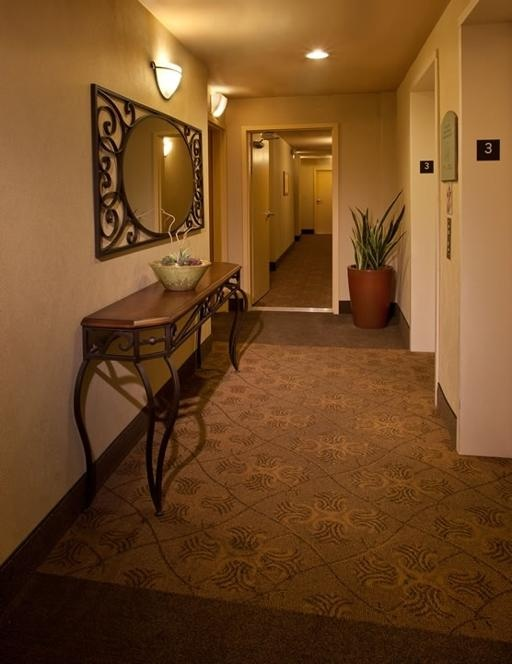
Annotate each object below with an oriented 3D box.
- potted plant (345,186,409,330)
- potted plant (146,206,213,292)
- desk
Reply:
[{"bbox_3d":[1.320,-0.786,5.268,0.553,1.467,1.001,1,7,11],"label":"potted plant"},{"bbox_3d":[-0.434,-0.480,2.682,0.304,0.495,0.367,0,2,-5],"label":"potted plant"},{"bbox_3d":[-0.407,0.159,2.823,0.438,0.932,1.758,5,17,10],"label":"desk"}]
